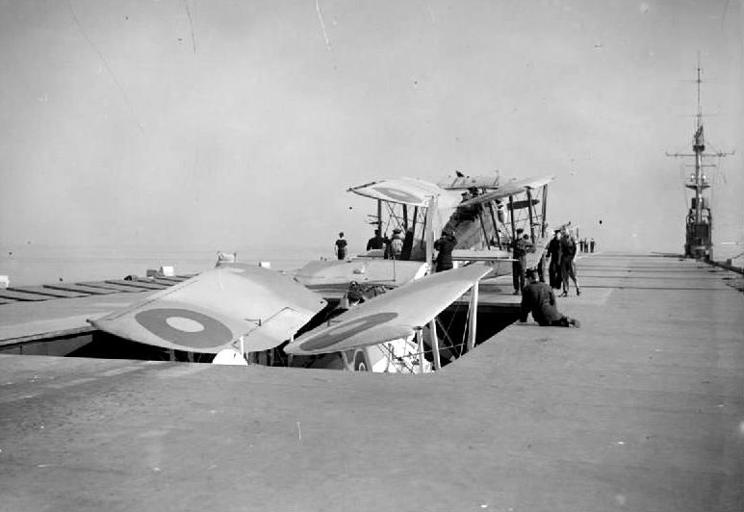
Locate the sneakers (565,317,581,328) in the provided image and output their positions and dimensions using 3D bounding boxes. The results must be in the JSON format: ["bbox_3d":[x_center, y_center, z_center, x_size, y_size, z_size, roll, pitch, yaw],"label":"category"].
[{"bbox_3d":[3.707,1.213,12.601,0.241,0.158,0.263,4,10,32],"label":"sneakers"}]
